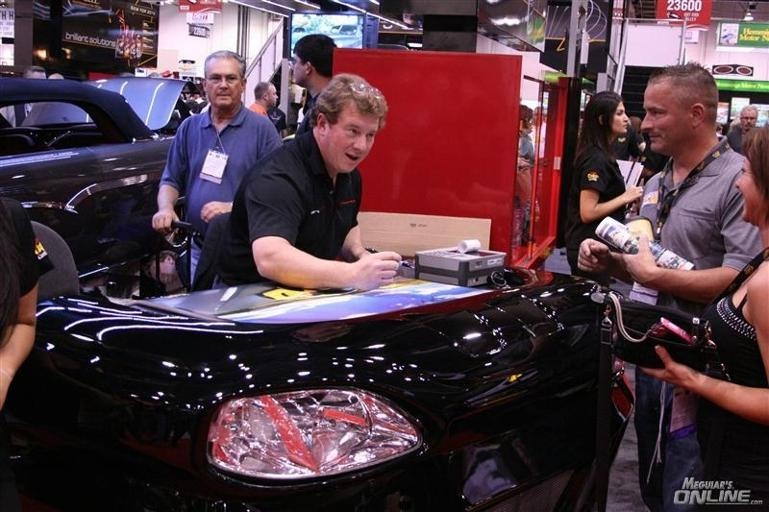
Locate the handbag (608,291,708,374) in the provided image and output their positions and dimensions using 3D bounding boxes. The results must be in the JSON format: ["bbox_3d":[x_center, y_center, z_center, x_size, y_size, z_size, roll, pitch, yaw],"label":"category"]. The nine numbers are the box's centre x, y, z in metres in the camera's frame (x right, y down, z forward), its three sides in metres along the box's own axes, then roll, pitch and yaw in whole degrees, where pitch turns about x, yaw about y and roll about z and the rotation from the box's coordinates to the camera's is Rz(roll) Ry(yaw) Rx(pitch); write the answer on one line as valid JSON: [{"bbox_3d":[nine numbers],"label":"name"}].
[{"bbox_3d":[0.838,0.252,1.567,0.286,0.114,0.212,21,-18,17],"label":"handbag"}]

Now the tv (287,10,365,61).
[{"bbox_3d":[-1.037,-4.058,9.223,1.400,0.790,0.117,0,2,2],"label":"tv"}]
